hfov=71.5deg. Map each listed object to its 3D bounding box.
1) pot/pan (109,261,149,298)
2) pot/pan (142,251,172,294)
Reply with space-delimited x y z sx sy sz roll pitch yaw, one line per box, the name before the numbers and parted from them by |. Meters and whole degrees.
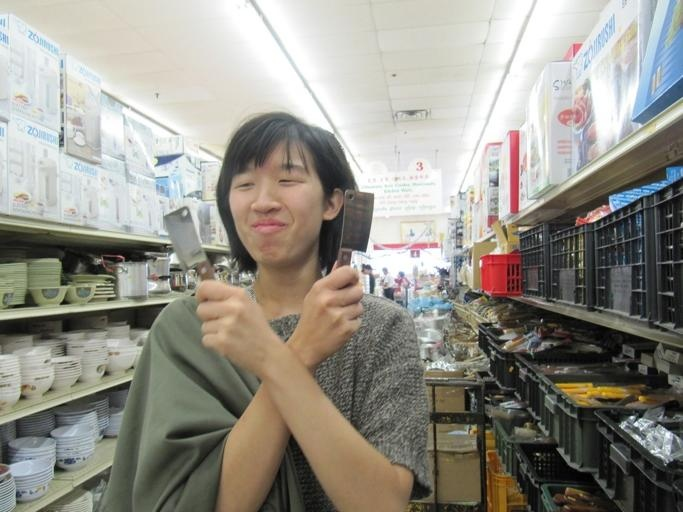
pot/pan | -1.543 0.172 3.453 0.227 0.241 0.226 -2 3 -39
pot/pan | -1.399 0.150 3.800 0.272 0.285 0.252 -2 -4 5
